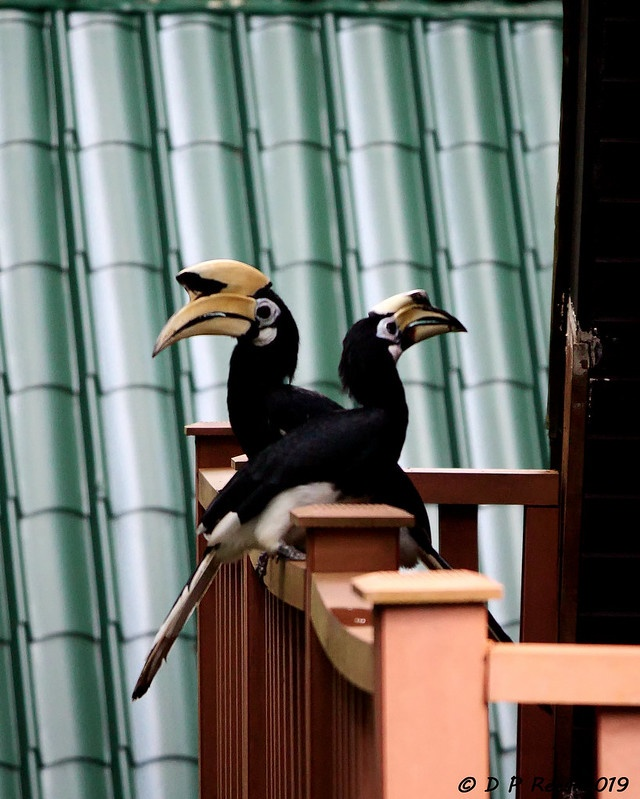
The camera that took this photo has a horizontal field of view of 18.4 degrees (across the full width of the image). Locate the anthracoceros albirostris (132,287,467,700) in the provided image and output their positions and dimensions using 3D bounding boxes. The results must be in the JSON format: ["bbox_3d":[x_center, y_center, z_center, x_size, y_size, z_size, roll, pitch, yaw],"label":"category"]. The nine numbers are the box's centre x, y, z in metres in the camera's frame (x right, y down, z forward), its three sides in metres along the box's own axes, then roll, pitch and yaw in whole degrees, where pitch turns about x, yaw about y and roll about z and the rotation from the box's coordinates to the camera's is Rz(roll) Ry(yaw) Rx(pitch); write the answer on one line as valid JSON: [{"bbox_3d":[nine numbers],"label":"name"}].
[{"bbox_3d":[-0.055,0.168,3.627,0.611,0.743,0.231,-5,-20,18],"label":"anthracoceros albirostris"}]

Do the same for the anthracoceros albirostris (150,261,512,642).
[{"bbox_3d":[0.051,0.086,3.680,0.704,0.690,0.242,7,-30,-7],"label":"anthracoceros albirostris"}]
